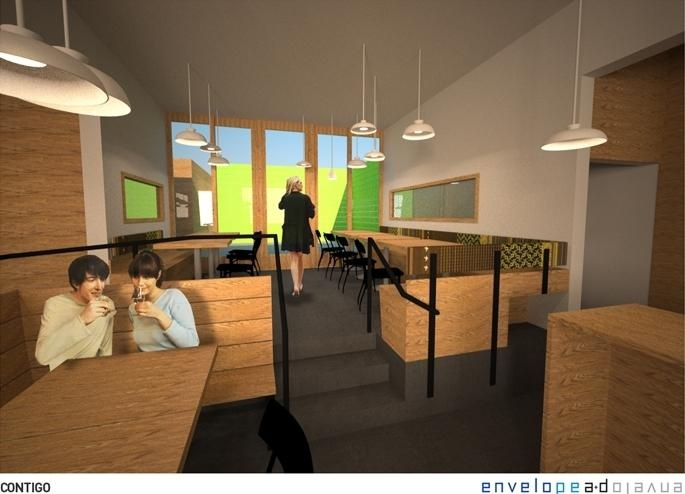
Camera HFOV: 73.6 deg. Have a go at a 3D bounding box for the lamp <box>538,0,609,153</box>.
[{"bbox_3d":[2.265,-1.772,4.489,0.543,1.641,1.261,1,7,24],"label":"lamp"}]

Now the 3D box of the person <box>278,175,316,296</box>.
[{"bbox_3d":[-0.610,-0.151,6.278,0.530,1.540,0.519,-1,0,17],"label":"person"}]
